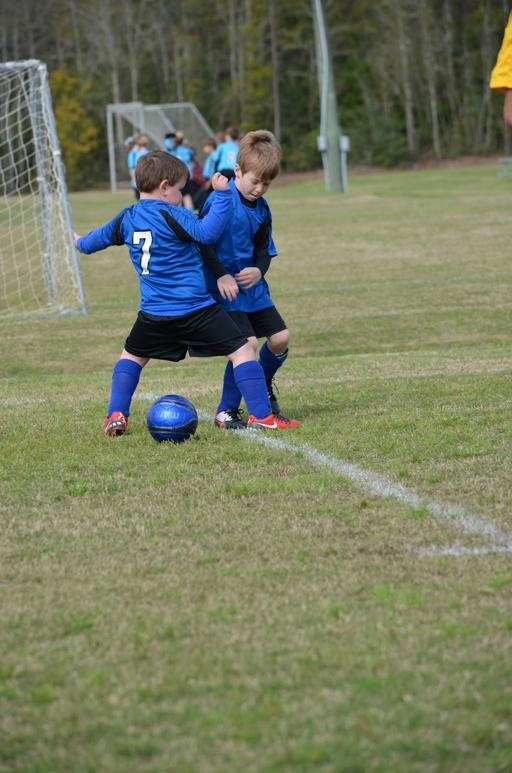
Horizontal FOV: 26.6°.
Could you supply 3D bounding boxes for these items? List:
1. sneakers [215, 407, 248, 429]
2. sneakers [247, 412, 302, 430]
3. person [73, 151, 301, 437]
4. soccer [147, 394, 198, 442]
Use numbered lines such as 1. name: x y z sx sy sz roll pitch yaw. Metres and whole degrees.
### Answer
1. sneakers: -0.081 0.124 3.923 0.061 0.043 0.114 1 -1 -33
2. sneakers: 0.059 0.119 3.782 0.204 0.058 0.060 -2 4 -5
3. person: -0.241 -0.301 3.641 0.726 0.961 0.362 -1 14 4
4. soccer: -0.264 0.092 3.675 0.175 0.149 0.163 13 11 14
